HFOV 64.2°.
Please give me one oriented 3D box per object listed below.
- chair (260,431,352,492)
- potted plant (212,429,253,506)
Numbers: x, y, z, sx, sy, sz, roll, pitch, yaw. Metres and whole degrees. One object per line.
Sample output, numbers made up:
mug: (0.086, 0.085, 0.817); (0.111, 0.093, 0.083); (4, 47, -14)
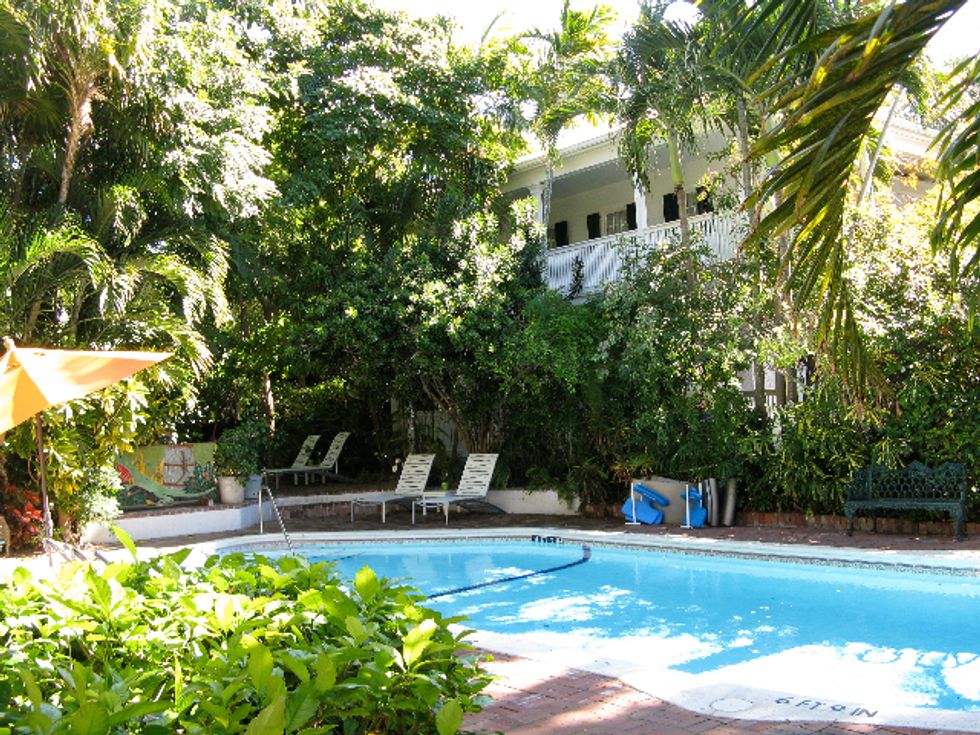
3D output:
chair: (-4.302, 2.214, 18.567); (0.938, 1.056, 1.880); (-3, -4, 34)
potted plant: (-4.781, 1.824, 14.589); (0.697, 1.384, 1.315); (2, -6, -19)
